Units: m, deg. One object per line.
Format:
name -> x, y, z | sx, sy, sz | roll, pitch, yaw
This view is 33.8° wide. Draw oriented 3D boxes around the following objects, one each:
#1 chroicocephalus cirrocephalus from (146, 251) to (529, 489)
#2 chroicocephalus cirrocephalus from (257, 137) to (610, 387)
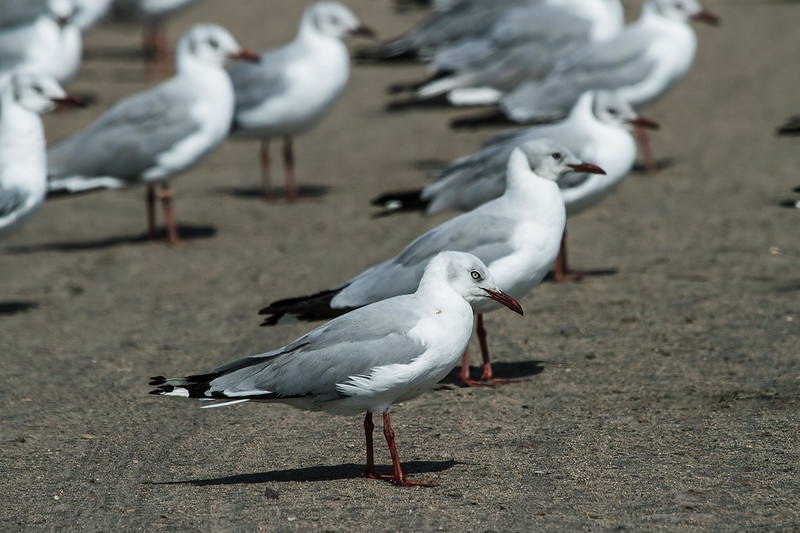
chroicocephalus cirrocephalus -> -0.218, 0.478, 8.333 | 3.379, 1.463, 0.927 | 0, 3, -7
chroicocephalus cirrocephalus -> -0.024, -0.251, 9.449 | 3.669, 1.733, 1.011 | -1, 9, -2
